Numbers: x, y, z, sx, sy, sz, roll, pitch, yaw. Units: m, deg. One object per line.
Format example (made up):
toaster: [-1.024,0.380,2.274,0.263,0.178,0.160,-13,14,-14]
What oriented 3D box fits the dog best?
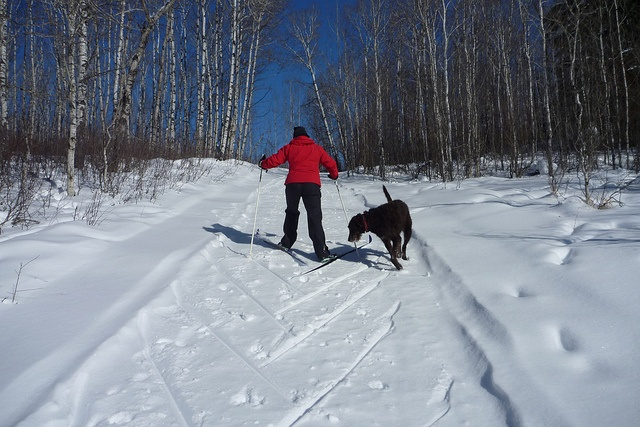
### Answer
dog: [1.307,0.414,9.396,1.085,1.353,0.902,-1,3,27]

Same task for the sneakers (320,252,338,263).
sneakers: [0.199,0.923,9.242,0.352,0.139,0.154,-11,-3,19]

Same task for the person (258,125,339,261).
person: [-0.343,-0.443,9.483,1.457,2.865,0.849,-2,3,4]
